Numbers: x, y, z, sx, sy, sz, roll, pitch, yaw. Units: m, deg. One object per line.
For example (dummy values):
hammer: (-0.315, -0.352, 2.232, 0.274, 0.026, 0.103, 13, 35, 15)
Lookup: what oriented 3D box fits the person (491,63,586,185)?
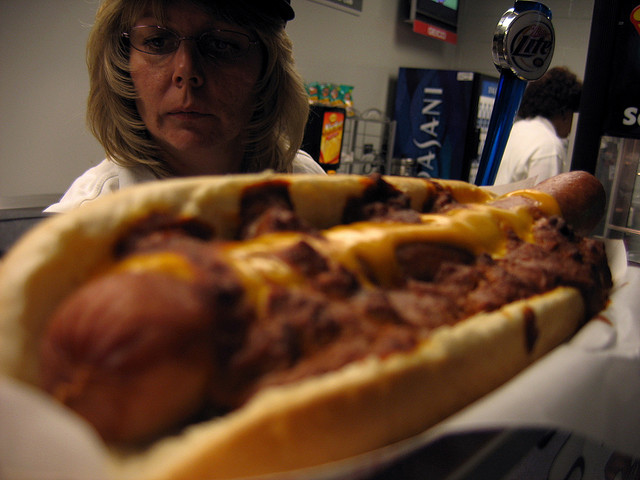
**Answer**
person: (1.093, -0.585, 2.569, 0.336, 0.632, 0.722, 9, 11, 24)
